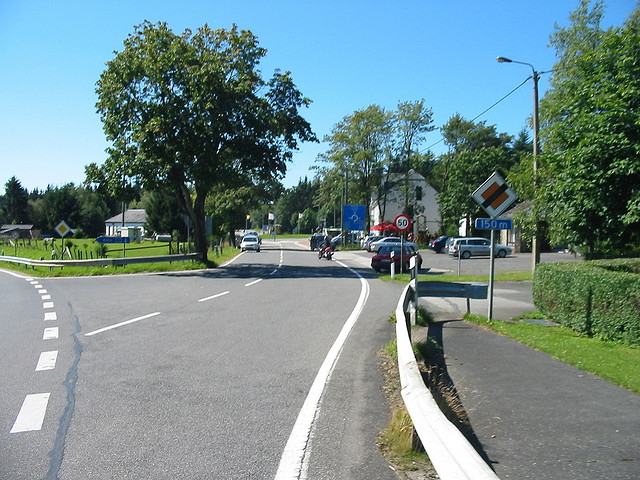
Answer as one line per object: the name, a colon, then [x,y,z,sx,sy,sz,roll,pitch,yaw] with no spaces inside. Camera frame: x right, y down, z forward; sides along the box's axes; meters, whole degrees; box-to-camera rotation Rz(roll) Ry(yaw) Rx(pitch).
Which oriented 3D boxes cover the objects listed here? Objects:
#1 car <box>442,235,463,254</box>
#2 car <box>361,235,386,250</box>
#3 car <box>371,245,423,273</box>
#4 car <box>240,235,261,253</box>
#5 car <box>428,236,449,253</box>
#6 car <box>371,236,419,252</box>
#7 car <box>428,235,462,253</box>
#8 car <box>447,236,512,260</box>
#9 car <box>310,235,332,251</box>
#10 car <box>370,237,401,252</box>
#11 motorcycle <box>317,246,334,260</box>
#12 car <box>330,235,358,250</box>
car: [10.632,0.453,49.681,2.019,1.351,1.295,-5,6,-9]
car: [4.771,0.370,59.489,1.341,1.221,3.249,0,8,16]
car: [3.806,0.854,30.623,1.310,1.013,2.407,0,4,23]
car: [-6.574,0.412,57.091,1.669,1.349,2.499,-1,7,-10]
car: [10.555,0.322,52.339,1.709,0.759,0.835,-8,8,-27]
car: [5.033,0.280,42.881,2.688,1.129,1.292,-2,4,-1]
car: [11.246,0.484,52.669,3.071,1.386,1.450,-4,5,-11]
car: [11.062,0.632,42.789,2.874,1.189,1.453,-4,5,-12]
car: [0.032,0.207,59.099,1.781,1.265,1.119,-17,4,-3]
car: [4.746,0.323,44.450,2.013,0.827,1.011,-6,7,-19]
motorcycle: [0.389,0.899,42.356,0.549,0.998,2.224,-2,7,-15]
car: [2.334,0.313,60.561,2.759,1.918,1.420,-3,8,-9]
